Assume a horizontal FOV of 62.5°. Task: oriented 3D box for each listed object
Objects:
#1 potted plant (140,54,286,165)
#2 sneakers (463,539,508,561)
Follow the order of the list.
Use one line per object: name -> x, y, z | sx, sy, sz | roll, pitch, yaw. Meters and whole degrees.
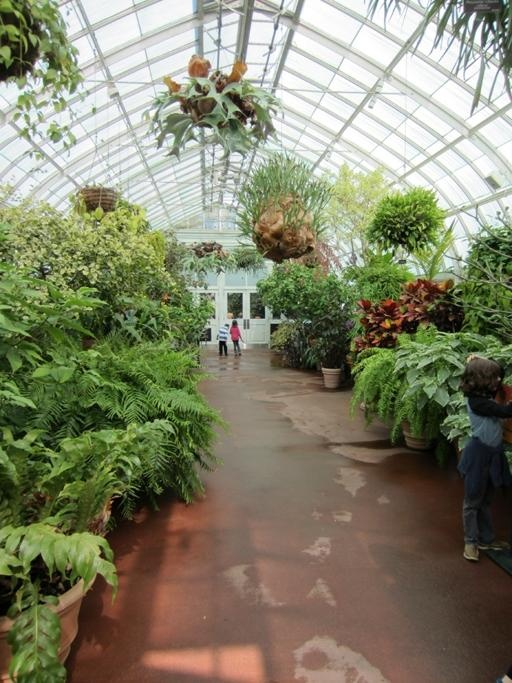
potted plant -> -0.205, -1.252, 2.447 | 0.760, 0.418, 0.664 | 4, -31, 0
sneakers -> 0.999, 0.902, 1.826 | 0.194, 0.067, 0.058 | -7, 19, -9
